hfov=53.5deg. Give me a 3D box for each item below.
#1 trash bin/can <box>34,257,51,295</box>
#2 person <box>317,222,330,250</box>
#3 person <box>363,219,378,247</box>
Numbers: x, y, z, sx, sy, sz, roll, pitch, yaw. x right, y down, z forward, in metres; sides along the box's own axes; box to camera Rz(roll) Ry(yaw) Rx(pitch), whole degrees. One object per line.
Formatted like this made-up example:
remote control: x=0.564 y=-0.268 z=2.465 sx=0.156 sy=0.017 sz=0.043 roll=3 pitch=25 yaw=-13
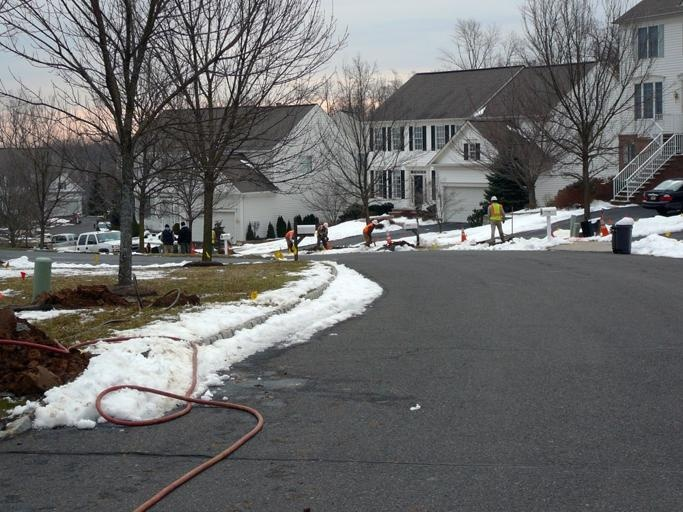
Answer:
trash bin/can: x=-5.874 y=0.415 z=13.245 sx=0.332 sy=0.740 sz=0.399 roll=-4 pitch=8 yaw=-24
person: x=-0.930 y=-0.980 z=34.093 sx=0.568 sy=1.285 sz=1.674 roll=-1 pitch=7 yaw=-2
person: x=1.541 y=-1.201 z=36.226 sx=0.698 sy=2.036 sz=0.931 roll=4 pitch=29 yaw=9
